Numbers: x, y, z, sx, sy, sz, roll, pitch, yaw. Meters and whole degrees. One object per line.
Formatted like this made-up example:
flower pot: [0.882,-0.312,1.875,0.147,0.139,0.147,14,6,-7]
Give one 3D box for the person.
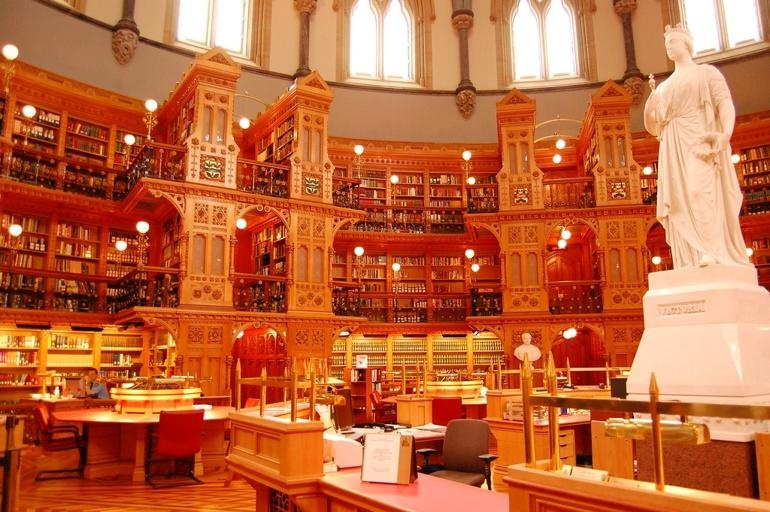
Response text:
person: [3.683,-1.325,7.657,0.969,2.917,0.523,-4,-11,26]
